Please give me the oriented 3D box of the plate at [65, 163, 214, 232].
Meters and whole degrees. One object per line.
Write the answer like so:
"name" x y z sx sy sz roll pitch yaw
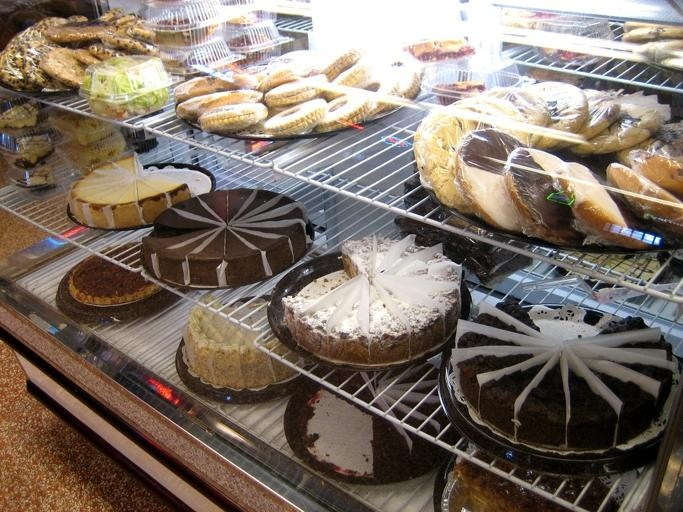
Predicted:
"plate" -0.793 -0.268 2.043 0.501 0.080 0.407 5 25 21
